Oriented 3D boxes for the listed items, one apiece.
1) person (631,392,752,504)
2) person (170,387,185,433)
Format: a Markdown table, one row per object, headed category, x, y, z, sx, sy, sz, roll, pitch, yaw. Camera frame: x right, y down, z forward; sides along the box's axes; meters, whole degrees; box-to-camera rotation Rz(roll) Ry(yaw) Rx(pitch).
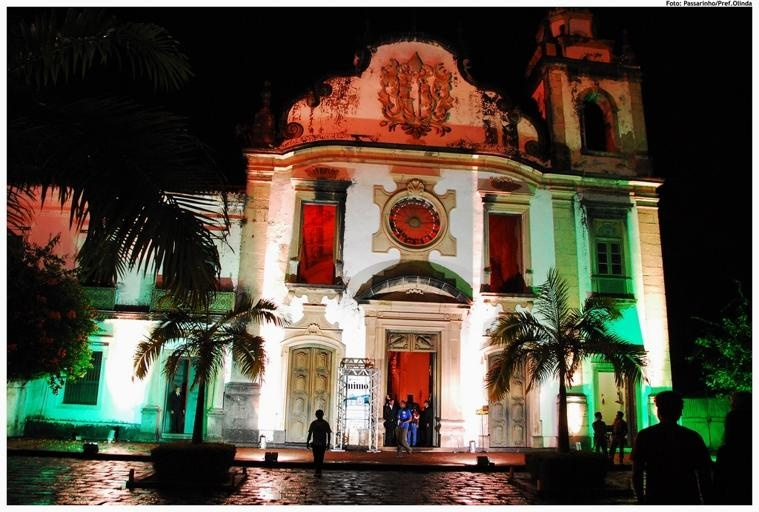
| category | x | y | z | sx | sy | sz | roll | pitch | yaw |
| --- | --- | --- | --- | --- | --- | --- | --- | --- | --- |
| person | 3.879 | 2.539 | 8.975 | 1.061 | 1.450 | 0.365 | -1 | -15 | 7 |
| person | -6.744 | 5.167 | 22.535 | 0.512 | 1.540 | 0.328 | 7 | -14 | -41 |
